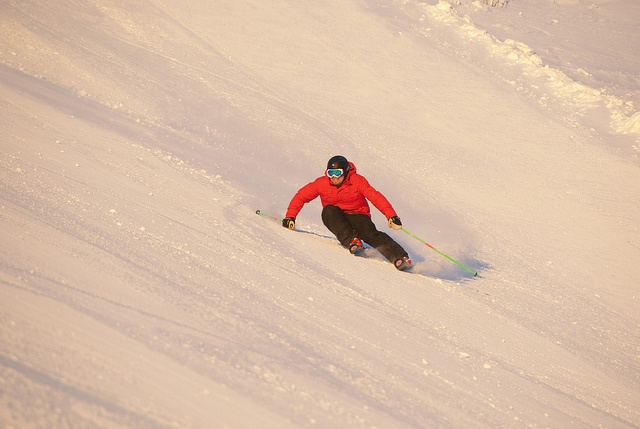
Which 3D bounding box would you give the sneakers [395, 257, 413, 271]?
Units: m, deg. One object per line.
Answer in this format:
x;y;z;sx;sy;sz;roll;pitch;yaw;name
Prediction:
1.647;1.009;20.907;0.281;0.273;0.246;-28;56;15;sneakers

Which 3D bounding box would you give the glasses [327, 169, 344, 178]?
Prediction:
0.313;-0.801;20.931;0.335;0.144;0.150;0;77;-1;glasses

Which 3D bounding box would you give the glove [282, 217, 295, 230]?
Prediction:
-0.617;0.204;20.988;0.230;0.180;0.241;-3;77;-2;glove

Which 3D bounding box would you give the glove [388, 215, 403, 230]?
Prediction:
1.507;0.178;20.957;0.233;0.294;0.117;7;66;29;glove
